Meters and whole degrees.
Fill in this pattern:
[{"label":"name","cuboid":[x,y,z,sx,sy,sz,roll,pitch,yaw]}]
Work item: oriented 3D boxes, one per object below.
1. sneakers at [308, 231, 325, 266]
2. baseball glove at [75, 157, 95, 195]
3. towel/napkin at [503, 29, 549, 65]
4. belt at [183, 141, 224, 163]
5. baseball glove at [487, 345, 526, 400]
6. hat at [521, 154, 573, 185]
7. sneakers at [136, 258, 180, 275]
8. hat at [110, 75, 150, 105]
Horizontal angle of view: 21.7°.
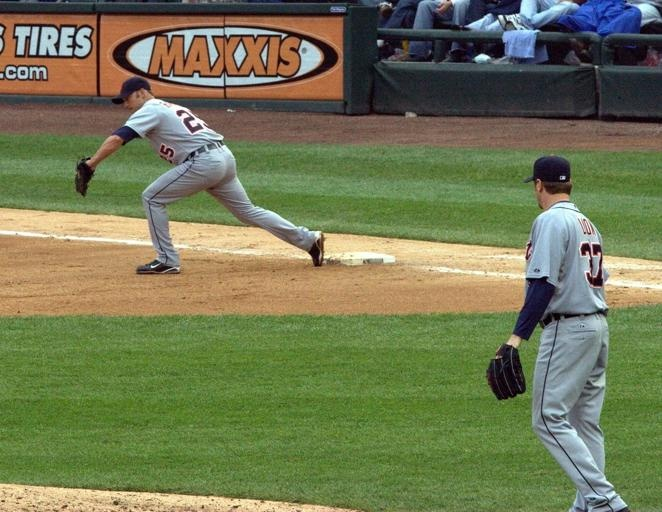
[{"label":"sneakers","cuboid":[-0.180,-0.101,20.966,0.212,0.427,0.151,-12,35,-8]},{"label":"baseball glove","cuboid":[-2.948,-0.900,20.348,0.264,0.490,0.199,12,15,15]},{"label":"towel/napkin","cuboid":[3.400,-3.620,29.396,0.644,0.574,0.713,-13,10,-43]},{"label":"belt","cuboid":[-1.474,-1.235,20.285,0.503,0.231,0.133,-5,9,-26]},{"label":"baseball glove","cuboid":[1.618,1.095,16.172,0.401,0.469,0.240,-12,0,28]},{"label":"hat","cuboid":[2.044,-0.821,16.334,0.364,0.181,0.270,10,15,40]},{"label":"sneakers","cuboid":[-2.073,0.130,20.537,0.551,0.193,0.186,3,0,-2]},{"label":"hat","cuboid":[-2.377,-1.968,20.306,0.533,0.261,0.315,-14,8,-11]}]
